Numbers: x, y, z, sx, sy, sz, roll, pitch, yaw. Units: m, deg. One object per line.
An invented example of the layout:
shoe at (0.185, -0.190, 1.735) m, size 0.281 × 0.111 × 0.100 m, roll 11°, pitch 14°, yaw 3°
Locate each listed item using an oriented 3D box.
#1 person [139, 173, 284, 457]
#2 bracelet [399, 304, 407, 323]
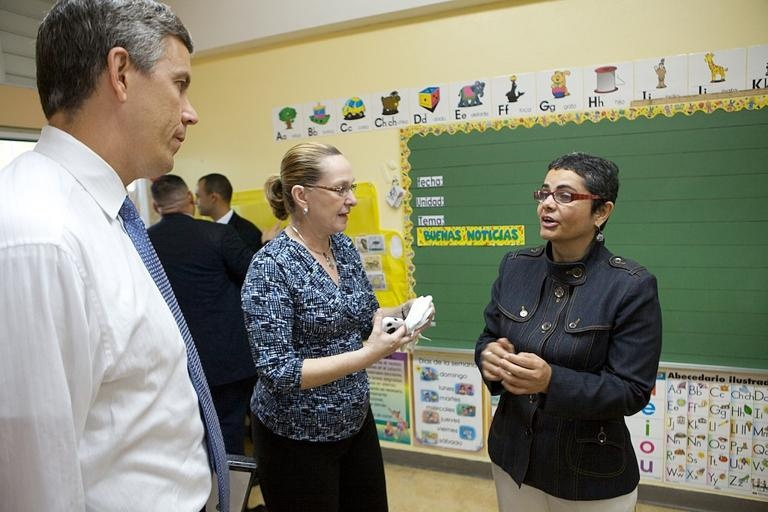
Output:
person at (-1.184, 0.538, 3.550) m, size 0.840 × 2.063 × 0.659 m, roll -2°, pitch 12°, yaw -4°
bracelet at (0.087, 0.257, 2.386) m, size 0.026 × 0.073 × 0.029 m, roll 9°, pitch 3°, yaw 29°
